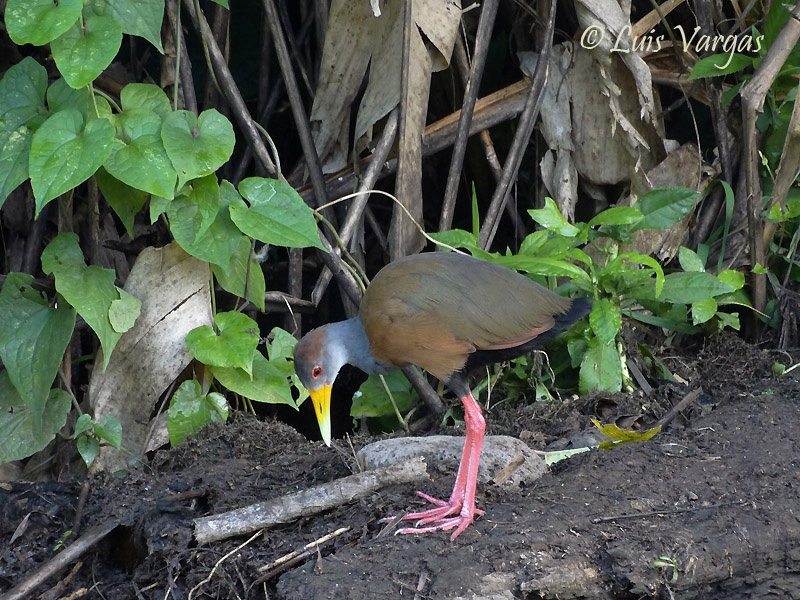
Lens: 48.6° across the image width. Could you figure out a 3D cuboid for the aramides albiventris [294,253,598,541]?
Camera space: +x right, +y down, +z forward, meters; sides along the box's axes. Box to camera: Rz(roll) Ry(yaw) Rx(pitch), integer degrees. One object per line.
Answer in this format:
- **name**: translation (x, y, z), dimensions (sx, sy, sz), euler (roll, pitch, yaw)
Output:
- **aramides albiventris**: translation (0.112, 0.414, 5.112), dimensions (1.612, 1.698, 1.075), euler (-11, -1, 2)
